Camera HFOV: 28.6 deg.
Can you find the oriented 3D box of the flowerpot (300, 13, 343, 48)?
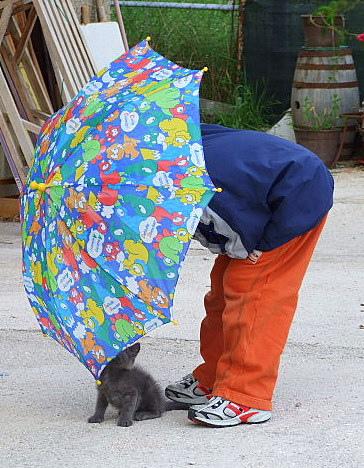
[{"bbox_3d":[1.744,-2.503,8.820,0.485,0.418,0.260,-2,10,11],"label":"flowerpot"}]

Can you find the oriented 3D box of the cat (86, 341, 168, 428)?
[{"bbox_3d":[-0.174,0.591,2.889,0.219,0.286,0.514,-9,-12,35],"label":"cat"}]
